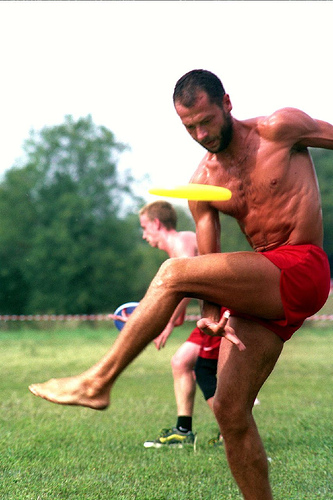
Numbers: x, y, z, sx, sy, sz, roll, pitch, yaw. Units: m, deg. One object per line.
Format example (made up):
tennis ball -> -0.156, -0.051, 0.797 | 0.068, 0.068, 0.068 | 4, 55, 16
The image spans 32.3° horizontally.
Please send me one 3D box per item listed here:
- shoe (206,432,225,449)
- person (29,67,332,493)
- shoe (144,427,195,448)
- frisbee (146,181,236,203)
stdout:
shoe -> 0.342, 1.326, 4.012 | 0.112, 0.056, 0.210 | 1, -6, 9
person -> 0.198, 0.109, 2.480 | 0.866, 1.781, 0.498 | -1, -8, 29
shoe -> 0.029, 1.299, 3.983 | 0.402, 0.132, 0.115 | 2, -13, -9
frisbee -> 0.093, -0.234, 2.249 | 0.288, 0.060, 0.270 | -4, -8, 43
